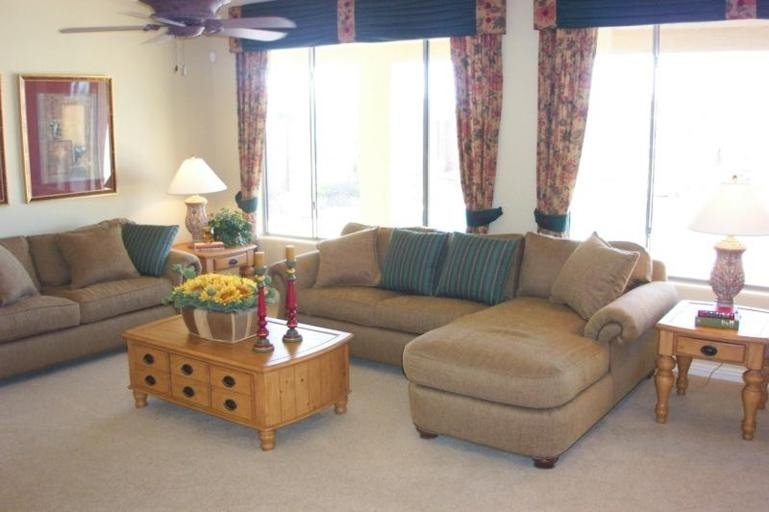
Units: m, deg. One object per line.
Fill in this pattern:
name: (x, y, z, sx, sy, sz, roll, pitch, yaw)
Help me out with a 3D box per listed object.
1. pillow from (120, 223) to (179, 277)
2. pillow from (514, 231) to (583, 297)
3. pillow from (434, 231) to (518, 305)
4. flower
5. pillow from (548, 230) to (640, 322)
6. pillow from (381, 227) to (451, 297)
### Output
pillow: (-2.501, -0.071, 6.868, 0.612, 0.539, 0.178, 7, -14, 14)
pillow: (1.522, 0.095, 6.000, 0.572, 0.544, 0.213, 15, -1, 39)
pillow: (0.846, 0.120, 5.988, 0.743, 0.636, 0.215, 10, -14, 28)
flower: (-1.369, 0.293, 5.200, 0.788, 0.265, 0.270, 2, 15, 10)
pillow: (1.753, 0.202, 5.663, 0.622, 0.887, 1.125, -1, -2, -25)
pillow: (0.323, 0.073, 6.318, 0.658, 0.622, 0.264, 6, -19, 31)
